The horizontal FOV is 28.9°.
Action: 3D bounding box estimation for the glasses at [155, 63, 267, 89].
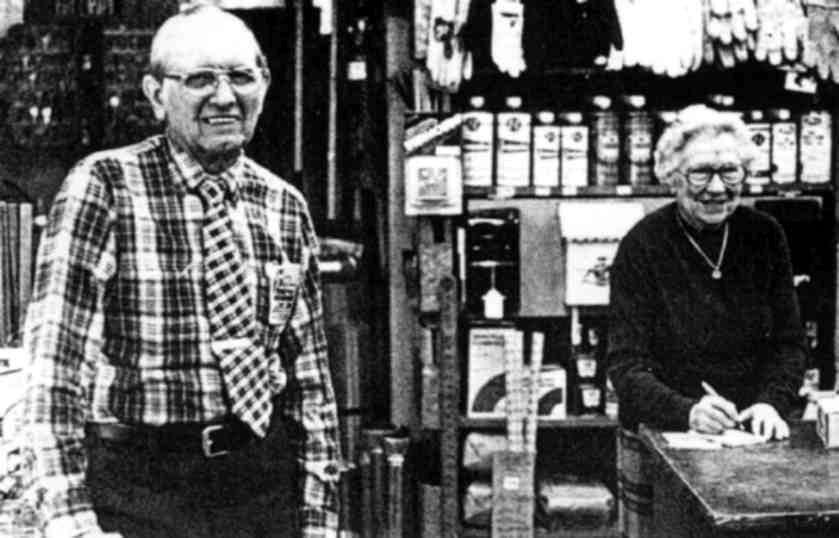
[{"bbox_3d":[-0.879,-0.823,6.891,0.463,0.093,0.035,-3,-1,-6],"label":"glasses"}]
